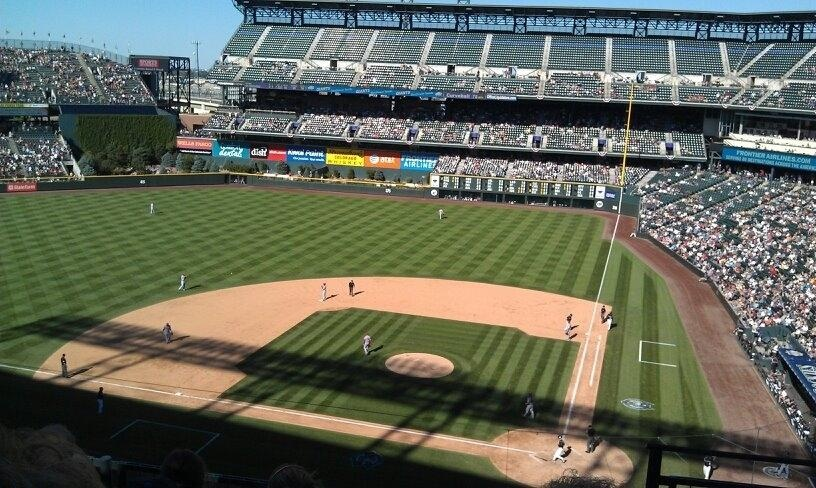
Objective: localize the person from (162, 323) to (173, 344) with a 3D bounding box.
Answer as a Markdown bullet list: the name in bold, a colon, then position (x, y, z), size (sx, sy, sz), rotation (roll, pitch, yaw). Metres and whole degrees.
- **person**: position (-17.333, 6.293, 46.805), size (0.715, 1.346, 1.670), rotation (-1, 17, -20)

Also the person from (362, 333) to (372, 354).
- **person**: position (-2.912, 6.922, 45.855), size (0.622, 1.269, 1.862), rotation (5, 15, -2)

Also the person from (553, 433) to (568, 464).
- **person**: position (8.934, 11.687, 37.503), size (0.857, 1.343, 1.576), rotation (10, 17, 16)

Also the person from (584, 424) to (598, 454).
- **person**: position (10.720, 11.379, 37.799), size (0.655, 1.320, 1.248), rotation (12, 17, 20)

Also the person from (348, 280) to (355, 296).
- **person**: position (-4.688, 3.617, 54.023), size (0.510, 1.182, 1.499), rotation (3, 16, -7)
